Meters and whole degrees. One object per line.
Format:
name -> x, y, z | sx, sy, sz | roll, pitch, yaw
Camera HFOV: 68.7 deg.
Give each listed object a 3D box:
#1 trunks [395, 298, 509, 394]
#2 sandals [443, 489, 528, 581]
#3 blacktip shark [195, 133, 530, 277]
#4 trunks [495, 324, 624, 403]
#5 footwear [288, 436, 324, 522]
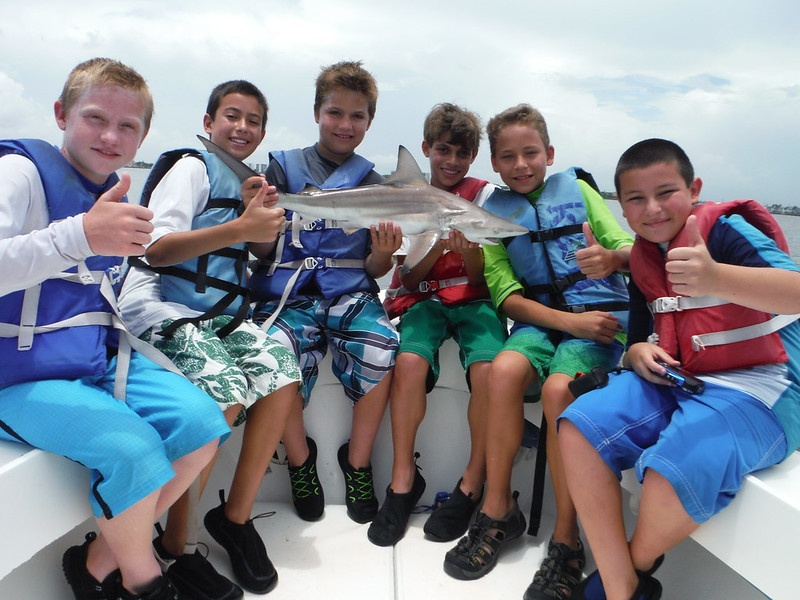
trunks -> 0.288, 0.263, 3.173 | 0.666, 0.260, 0.593 | 1, 26, 9
sandals -> 0.386, 1.094, 2.758 | 0.173, 0.197, 0.477 | -16, 3, 42
blacktip shark -> -0.134, -0.479, 2.993 | 1.559, 0.496, 0.436 | 7, 18, 7
trunks -> 0.801, 0.261, 2.916 | 0.444, 0.174, 0.427 | 3, 28, 20
footwear -> -0.484, 0.937, 3.071 | 0.145, 0.382, 0.158 | -20, -21, 16
